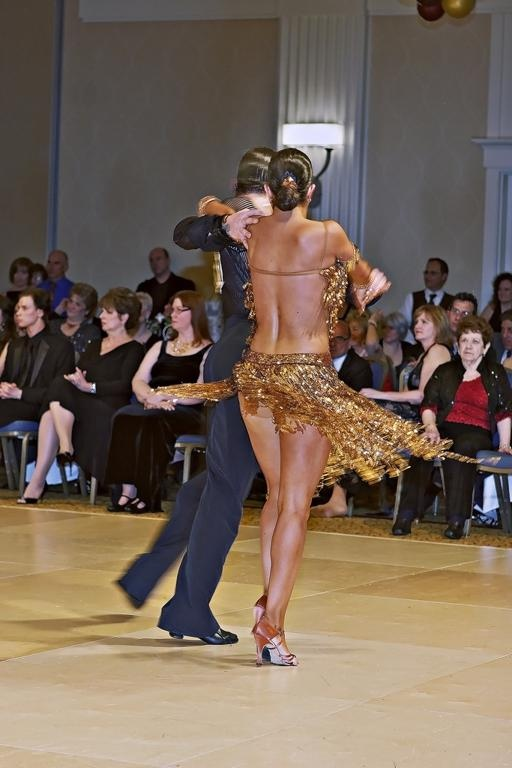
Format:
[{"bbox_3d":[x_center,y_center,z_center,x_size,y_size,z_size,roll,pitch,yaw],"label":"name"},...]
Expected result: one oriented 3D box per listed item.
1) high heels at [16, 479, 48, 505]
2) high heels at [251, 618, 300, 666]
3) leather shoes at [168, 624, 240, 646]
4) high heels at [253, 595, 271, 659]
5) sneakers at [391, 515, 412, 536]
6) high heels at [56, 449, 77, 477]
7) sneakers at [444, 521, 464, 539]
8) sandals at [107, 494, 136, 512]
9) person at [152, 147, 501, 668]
[{"bbox_3d":[-1.726,0.821,5.881,0.112,0.149,0.346,5,-1,5],"label":"high heels"},{"bbox_3d":[0.052,0.710,2.115,0.126,0.142,0.127,5,-3,9],"label":"high heels"},{"bbox_3d":[-0.162,0.794,2.428,0.228,0.081,0.077,-3,7,1],"label":"leather shoes"},{"bbox_3d":[0.000,0.678,2.139,0.073,0.154,0.051,-2,-1,-41],"label":"high heels"},{"bbox_3d":[0.969,0.951,5.106,0.092,0.139,0.142,7,-43,14],"label":"sneakers"},{"bbox_3d":[-1.543,0.618,6.140,0.120,0.307,0.120,4,38,7],"label":"high heels"},{"bbox_3d":[1.292,0.950,4.988,0.130,0.087,0.239,1,-1,13],"label":"sneakers"},{"bbox_3d":[-1.013,0.911,5.807,0.092,0.093,0.269,-2,-10,29],"label":"sandals"},{"bbox_3d":[0.156,0.058,2.261,0.596,1.485,0.380,7,-3,-19],"label":"person"}]
